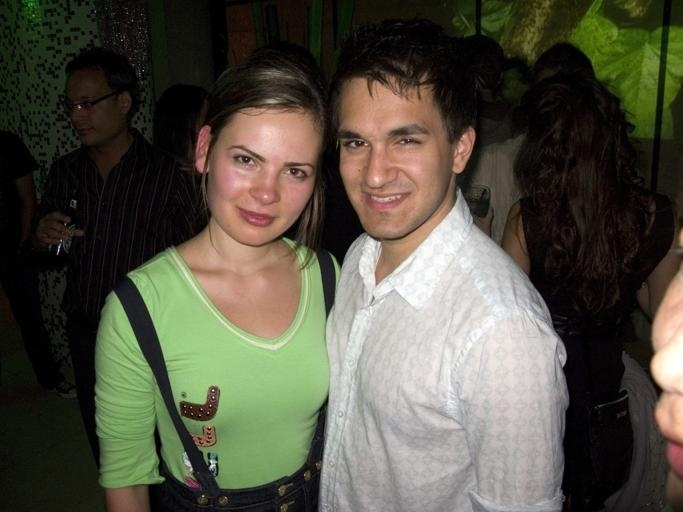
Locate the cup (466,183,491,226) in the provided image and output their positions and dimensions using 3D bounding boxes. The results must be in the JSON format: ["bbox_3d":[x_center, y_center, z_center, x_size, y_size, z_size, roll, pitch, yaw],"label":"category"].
[{"bbox_3d":[0.988,-0.376,3.992,0.194,0.282,0.096,4,-5,6],"label":"cup"}]
